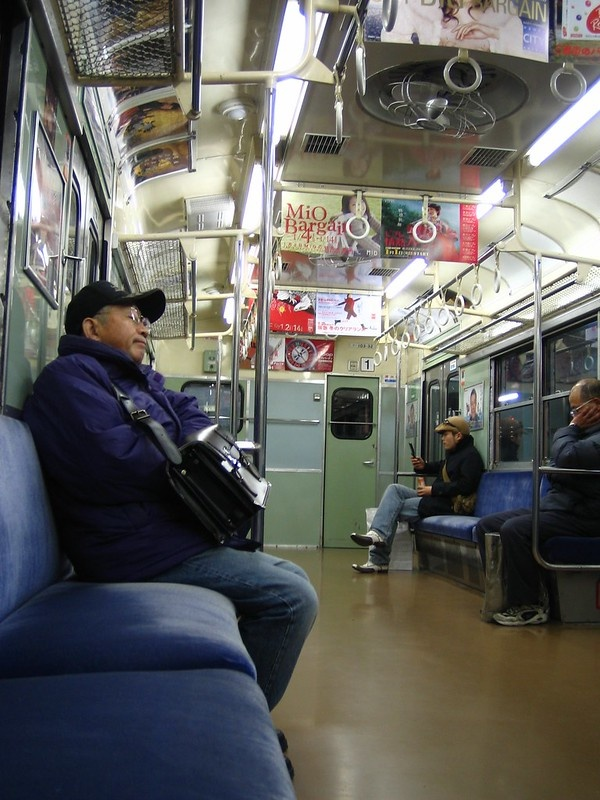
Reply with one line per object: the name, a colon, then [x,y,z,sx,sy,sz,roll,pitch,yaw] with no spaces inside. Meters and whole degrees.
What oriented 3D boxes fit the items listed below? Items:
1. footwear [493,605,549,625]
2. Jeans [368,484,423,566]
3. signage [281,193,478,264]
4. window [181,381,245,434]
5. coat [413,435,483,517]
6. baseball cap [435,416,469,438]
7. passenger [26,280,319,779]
footwear: [1.694,1.643,4.518,0.429,0.190,0.152,5,-18,-8]
Jeans: [1.184,1.525,7.479,0.515,1.187,0.521,16,-3,9]
signage: [0.838,-1.687,5.769,2.094,0.655,0.016,-4,9,-18]
window: [-1.543,0.237,10.526,1.277,1.229,0.087,2,11,21]
coat: [1.850,0.898,7.783,0.982,1.250,1.061,-1,11,6]
baseball cap: [1.957,0.359,7.571,0.379,0.189,0.242,5,-5,12]
passenger: [-0.441,0.391,2.128,0.958,1.631,0.724,0,-8,-15]
